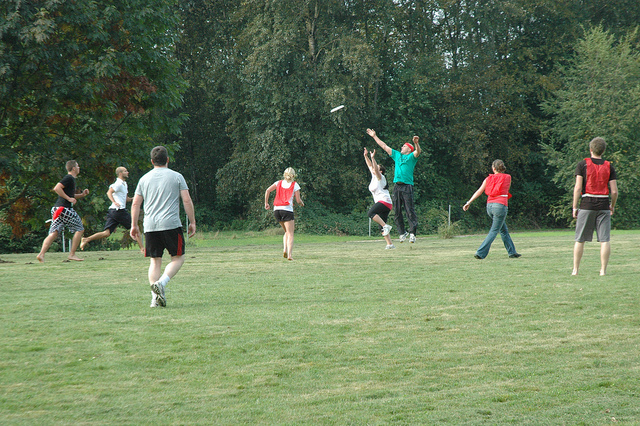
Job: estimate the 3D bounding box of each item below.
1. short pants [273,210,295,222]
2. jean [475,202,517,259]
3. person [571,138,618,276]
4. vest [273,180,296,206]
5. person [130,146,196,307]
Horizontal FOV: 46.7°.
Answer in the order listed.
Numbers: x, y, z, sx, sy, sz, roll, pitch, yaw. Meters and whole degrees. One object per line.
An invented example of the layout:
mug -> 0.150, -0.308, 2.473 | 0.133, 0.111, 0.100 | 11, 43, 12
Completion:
short pants -> -1.100, 0.059, 22.169 | 0.480, 0.285, 0.345 | 7, 15, 34
jean -> 5.122, 0.485, 21.593 | 0.656, 1.651, 1.017 | -3, -3, 44
person -> 7.100, -0.181, 19.214 | 1.100, 3.527, 1.209 | -2, -2, 20
vest -> -1.100, -0.614, 22.213 | 0.658, 0.753, 0.246 | -2, -2, 22
person -> -3.702, 0.279, 17.354 | 1.421, 3.718, 0.712 | -1, -2, -13
